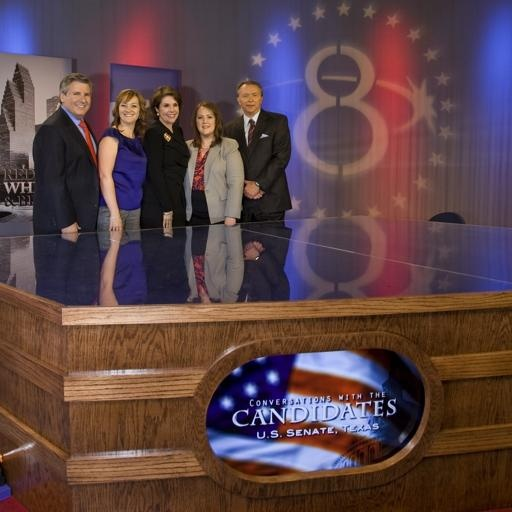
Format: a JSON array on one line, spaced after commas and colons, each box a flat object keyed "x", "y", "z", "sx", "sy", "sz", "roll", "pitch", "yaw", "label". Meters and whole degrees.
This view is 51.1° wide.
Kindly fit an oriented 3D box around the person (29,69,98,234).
[{"x": -1.058, "y": -0.570, "z": 3.006, "sx": 0.364, "sy": 0.935, "sz": 0.369, "roll": 0, "pitch": 5, "yaw": -27, "label": "person"}]

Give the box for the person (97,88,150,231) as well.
[{"x": -0.803, "y": -0.563, "z": 3.214, "sx": 0.287, "sy": 0.844, "sz": 0.239, "roll": 1, "pitch": 5, "yaw": -18, "label": "person"}]

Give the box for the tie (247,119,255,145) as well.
[{"x": -0.033, "y": -0.884, "z": 3.826, "sx": 0.048, "sy": 0.172, "sz": 0.040, "roll": 2, "pitch": 5, "yaw": -4, "label": "tie"}]
